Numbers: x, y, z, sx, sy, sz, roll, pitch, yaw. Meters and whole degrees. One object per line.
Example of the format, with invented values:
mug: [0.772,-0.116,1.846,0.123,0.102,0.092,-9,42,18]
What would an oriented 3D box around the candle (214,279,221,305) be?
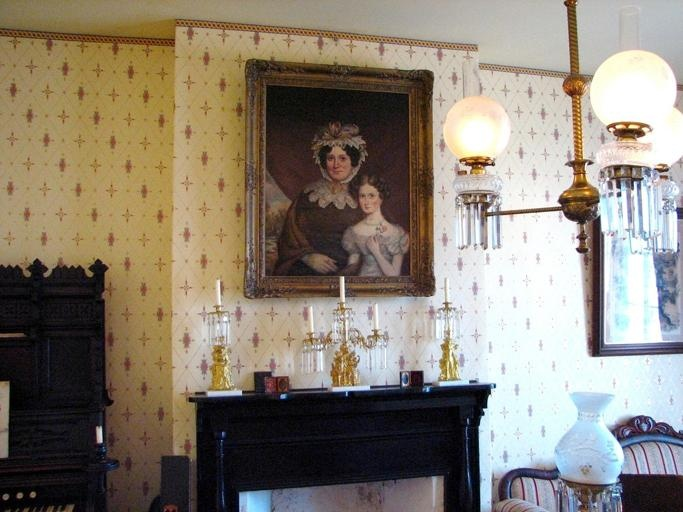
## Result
candle: [-0.890,0.259,5.064,0.044,0.214,0.302,0,-7,-10]

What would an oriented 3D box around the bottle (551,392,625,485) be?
bottle: [1.411,1.059,4.127,0.407,0.677,0.452,0,-7,19]

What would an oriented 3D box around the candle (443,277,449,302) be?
candle: [0.801,0.273,5.399,0.047,0.200,0.198,-2,-7,8]
